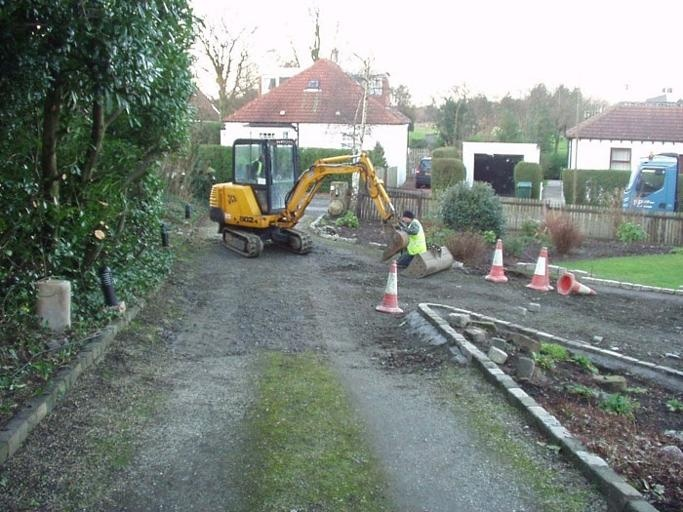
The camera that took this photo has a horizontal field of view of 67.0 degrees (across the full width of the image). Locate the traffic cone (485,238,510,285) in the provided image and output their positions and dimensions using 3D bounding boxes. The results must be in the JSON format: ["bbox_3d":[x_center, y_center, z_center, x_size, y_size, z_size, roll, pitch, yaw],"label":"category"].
[{"bbox_3d":[4.144,0.084,13.666,0.736,1.085,0.741,-3,8,-42],"label":"traffic cone"}]

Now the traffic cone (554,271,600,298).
[{"bbox_3d":[5.696,0.728,12.623,0.668,0.514,0.574,8,12,-28],"label":"traffic cone"}]

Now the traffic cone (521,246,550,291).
[{"bbox_3d":[5.009,0.305,12.937,0.664,1.084,0.816,4,11,-4],"label":"traffic cone"}]

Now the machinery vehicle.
[{"bbox_3d":[-1.170,-1.712,15.438,5.841,3.630,2.272,9,5,25],"label":"machinery vehicle"}]

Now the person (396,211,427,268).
[{"bbox_3d":[1.976,-0.558,14.386,0.685,1.613,0.951,6,13,-1],"label":"person"}]

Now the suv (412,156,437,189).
[{"bbox_3d":[5.382,-5.523,33.870,0.833,1.929,1.786,2,13,4],"label":"suv"}]
